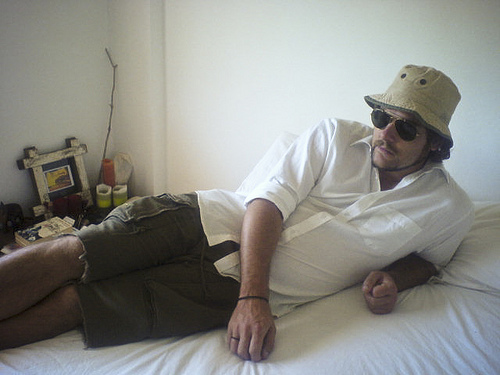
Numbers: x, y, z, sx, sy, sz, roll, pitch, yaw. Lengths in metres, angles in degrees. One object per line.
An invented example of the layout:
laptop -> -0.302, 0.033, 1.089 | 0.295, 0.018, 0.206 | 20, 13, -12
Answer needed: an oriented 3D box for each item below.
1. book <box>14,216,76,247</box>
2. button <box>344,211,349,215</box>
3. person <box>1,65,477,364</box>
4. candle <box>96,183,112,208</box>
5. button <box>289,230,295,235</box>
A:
book -> -1.247, 0.268, 2.596 | 0.296, 0.076, 0.296 | -21, 28, -40
button -> 0.419, 0.112, 1.862 | 0.019, 0.015, 0.012 | 1, -15, 8
person -> 0.040, 0.102, 1.931 | 2.005, 1.077, 0.982 | -8, 53, -24
candle -> -1.048, 0.068, 3.094 | 0.103, 0.175, 0.109 | 17, 18, 11
button -> 0.179, 0.191, 1.821 | 0.016, 0.017, 0.005 | 0, -10, 13
